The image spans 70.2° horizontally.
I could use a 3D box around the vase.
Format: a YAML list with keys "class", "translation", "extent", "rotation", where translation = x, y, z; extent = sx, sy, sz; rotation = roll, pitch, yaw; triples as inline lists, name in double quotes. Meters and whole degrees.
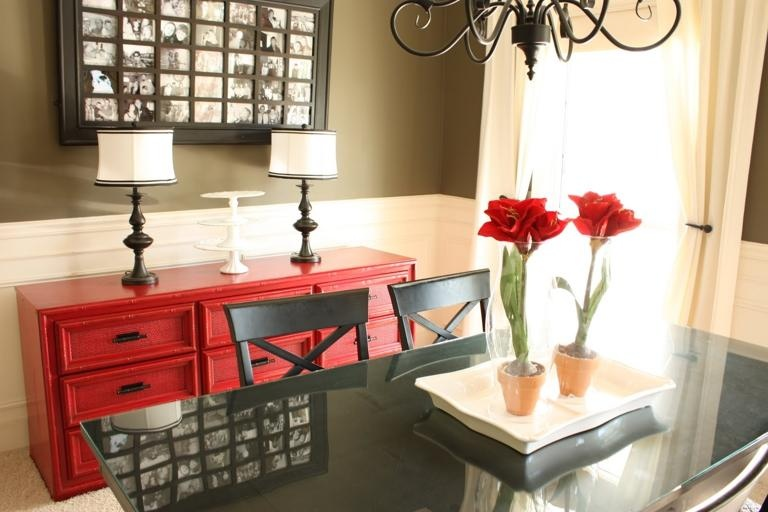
- class: "vase"
  translation: [0.568, 0.378, 1.880]
  extent: [0.373, 0.155, 0.179]
  rotation: [-11, 17, -29]

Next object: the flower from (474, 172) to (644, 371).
- class: "flower"
  translation: [0.572, 0.076, 1.816]
  extent: [0.509, 0.554, 0.220]
  rotation: [-9, 15, -25]

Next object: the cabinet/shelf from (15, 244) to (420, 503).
- class: "cabinet/shelf"
  translation: [-0.896, 0.534, 2.540]
  extent: [1.276, 0.597, 0.377]
  rotation: [-12, 21, -32]
